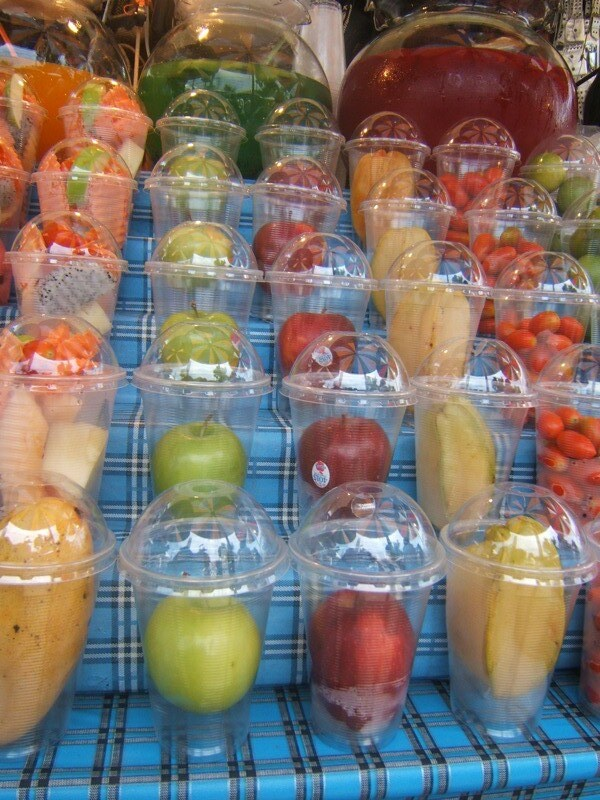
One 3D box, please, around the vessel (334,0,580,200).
[{"bbox_3d":[0.419,-0.806,1.932,0.553,0.351,0.542,9,13,33],"label":"vessel"}]
